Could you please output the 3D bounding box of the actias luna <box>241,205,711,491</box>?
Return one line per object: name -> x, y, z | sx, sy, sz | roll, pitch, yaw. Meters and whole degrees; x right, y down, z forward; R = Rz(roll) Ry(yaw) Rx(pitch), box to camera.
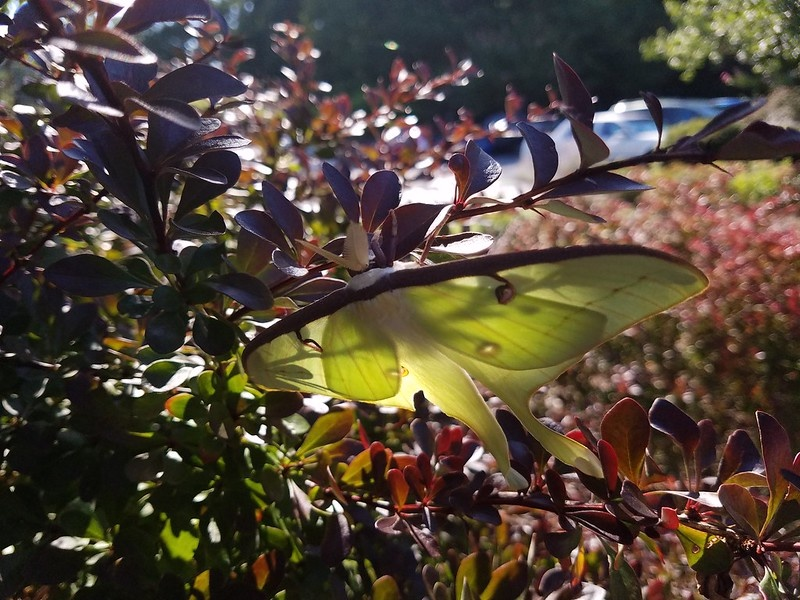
actias luna -> 0.104, 0.099, 0.974 | 0.600, 0.236, 0.313 | -16, -32, 18
